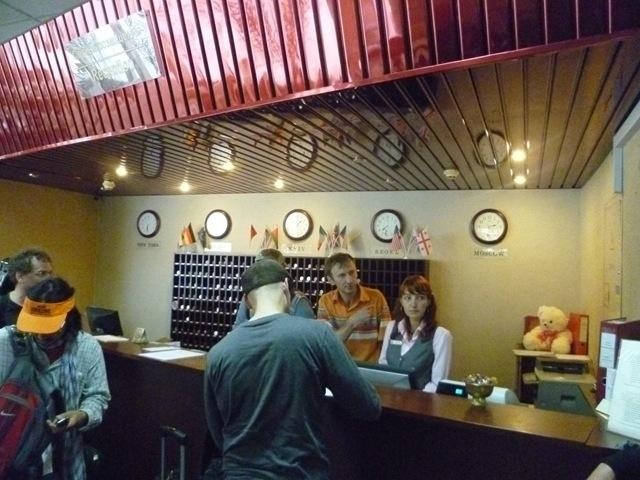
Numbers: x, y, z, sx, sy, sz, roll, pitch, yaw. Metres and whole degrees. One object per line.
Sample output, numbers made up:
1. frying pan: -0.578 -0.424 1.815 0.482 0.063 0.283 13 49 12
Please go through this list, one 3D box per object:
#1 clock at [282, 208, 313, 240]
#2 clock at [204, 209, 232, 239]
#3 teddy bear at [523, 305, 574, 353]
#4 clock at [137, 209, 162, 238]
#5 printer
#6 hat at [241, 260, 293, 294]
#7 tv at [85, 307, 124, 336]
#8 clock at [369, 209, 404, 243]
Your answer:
1. clock: -0.325 -0.240 7.423 0.407 0.477 0.065 -4 -7 25
2. clock: -1.714 -0.252 8.013 0.518 0.492 0.136 -1 -4 31
3. teddy bear: 2.702 1.065 5.653 0.521 0.524 0.499 0 -5 30
4. clock: -3.101 -0.289 8.622 0.592 0.496 0.118 -1 -5 35
5. printer: 2.317 1.398 4.638 0.618 0.460 0.890 0 -4 27
6. hat: -0.316 0.203 2.899 0.169 0.135 0.244 -8 12 23
7. tv: -2.502 0.948 5.613 0.375 0.416 0.329 1 0 23
8. clock: 0.983 -0.203 6.870 0.407 0.480 0.065 -1 -5 20
